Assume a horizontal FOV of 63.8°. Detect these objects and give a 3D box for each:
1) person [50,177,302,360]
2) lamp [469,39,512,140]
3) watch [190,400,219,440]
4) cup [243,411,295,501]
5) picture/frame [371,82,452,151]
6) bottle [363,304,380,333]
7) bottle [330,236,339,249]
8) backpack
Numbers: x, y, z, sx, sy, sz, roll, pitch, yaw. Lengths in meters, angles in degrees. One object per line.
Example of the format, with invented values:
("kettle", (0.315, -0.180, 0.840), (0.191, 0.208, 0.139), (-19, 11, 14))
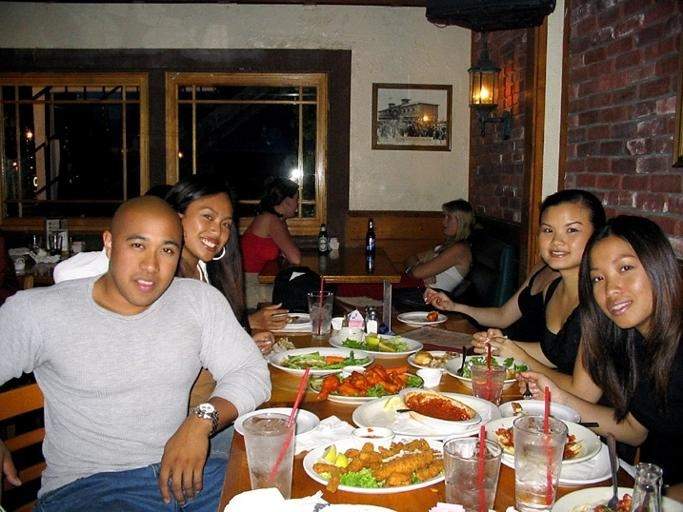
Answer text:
("person", (-0.817, 0.052, 2.901), (0.642, 1.191, 0.866), (15, 34, 26))
("lamp", (1.428, -1.625, 5.293), (0.385, 1.039, 0.688), (0, 8, 8))
("watch", (-0.462, 0.553, 1.875), (0.085, 0.107, 0.087), (5, 9, 34))
("cup", (-0.210, 0.576, 1.545), (0.150, 0.207, 0.255), (0, 8, 5))
("picture/frame", (0.761, -1.599, 6.180), (0.769, 0.618, 0.029), (0, 9, -5))
("bottle", (0.165, 0.347, 3.000), (0.106, 0.210, 0.107), (0, 8, 0))
("bottle", (-0.079, -0.138, 6.125), (0.112, 0.112, 0.098), (-1, 11, 0))
("backpack", (-0.232, 0.238, 4.069), (0.694, 0.363, 0.494), (4, 24, -1))
